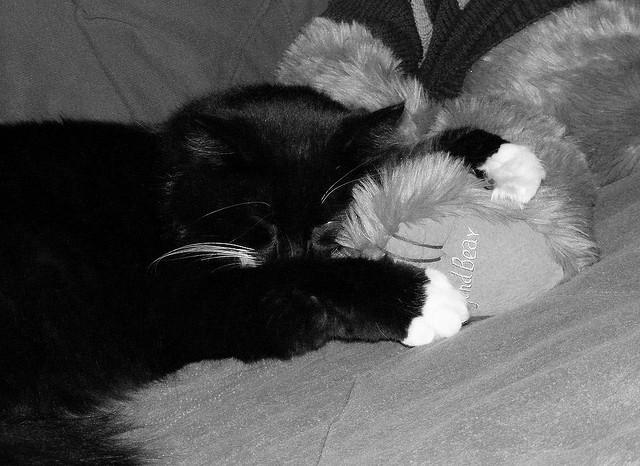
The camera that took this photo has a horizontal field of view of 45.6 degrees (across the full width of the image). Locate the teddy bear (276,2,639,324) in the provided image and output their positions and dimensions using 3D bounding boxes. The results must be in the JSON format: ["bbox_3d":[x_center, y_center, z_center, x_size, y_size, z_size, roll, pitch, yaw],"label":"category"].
[{"bbox_3d":[0.374,-0.215,1.742,0.563,0.748,0.359,-21,-14,11],"label":"teddy bear"}]
